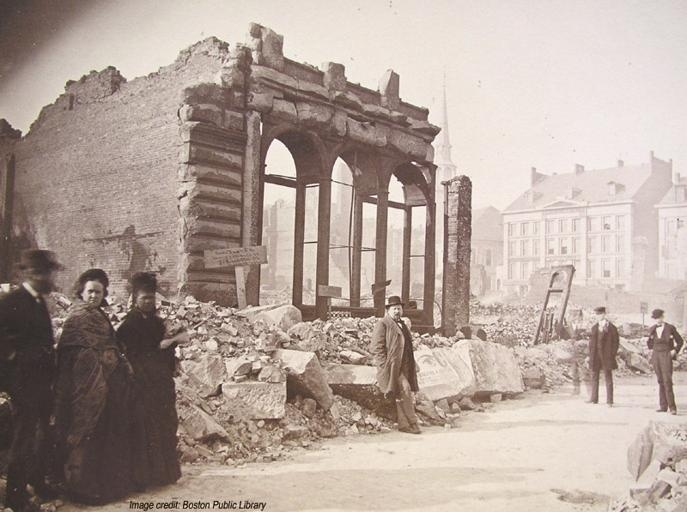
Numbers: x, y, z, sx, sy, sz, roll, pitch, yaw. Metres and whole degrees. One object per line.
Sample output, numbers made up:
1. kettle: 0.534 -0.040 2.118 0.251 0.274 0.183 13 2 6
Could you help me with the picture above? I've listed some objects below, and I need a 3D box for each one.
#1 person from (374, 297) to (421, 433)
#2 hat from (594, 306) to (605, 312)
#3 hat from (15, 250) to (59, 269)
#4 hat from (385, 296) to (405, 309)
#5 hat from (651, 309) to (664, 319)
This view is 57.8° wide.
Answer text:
1. person: 0.954 1.919 10.976 0.932 2.376 0.452 4 3 3
2. hat: 5.229 1.122 12.738 0.141 0.084 0.142 1 1 -21
3. hat: -3.936 0.069 7.834 0.481 0.181 0.405 -1 -1 36
4. hat: 0.892 0.816 11.054 0.231 0.143 0.273 -1 -19 -8
5. hat: 6.054 1.136 11.957 0.194 0.143 0.244 1 19 26
